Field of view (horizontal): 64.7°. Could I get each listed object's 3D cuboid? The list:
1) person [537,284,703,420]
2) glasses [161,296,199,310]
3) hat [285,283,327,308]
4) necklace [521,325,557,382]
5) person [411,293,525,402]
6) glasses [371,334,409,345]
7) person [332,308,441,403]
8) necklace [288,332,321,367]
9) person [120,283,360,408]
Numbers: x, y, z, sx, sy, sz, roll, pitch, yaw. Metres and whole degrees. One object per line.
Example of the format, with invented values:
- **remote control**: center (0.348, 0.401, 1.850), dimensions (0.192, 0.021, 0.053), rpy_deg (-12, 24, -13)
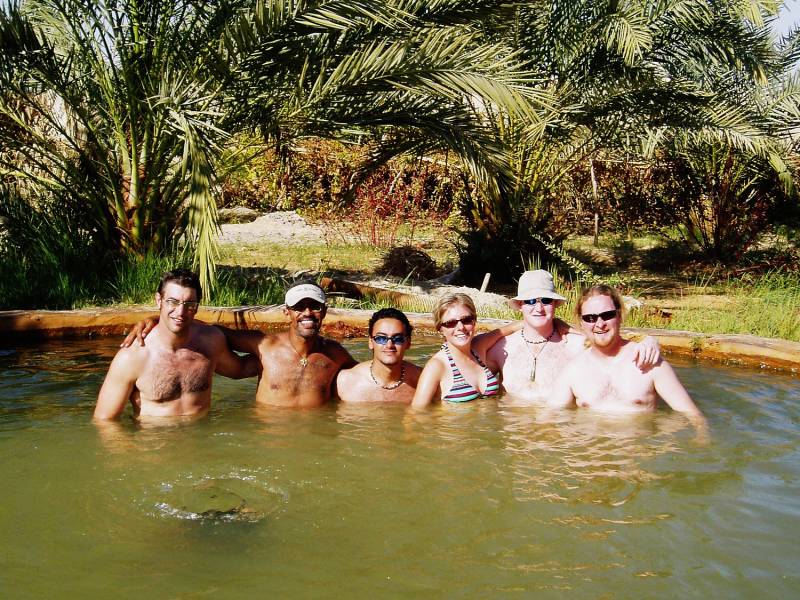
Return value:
- **person**: center (2.005, 0.506, 5.812), dimensions (1.248, 0.956, 0.654), rpy_deg (-12, 3, 20)
- **glasses**: center (-1.640, 0.031, 4.738), dimensions (0.245, 0.101, 0.120), rpy_deg (-3, 10, -19)
- **hat**: center (-0.805, -0.028, 5.365), dimensions (0.472, 0.202, 0.590), rpy_deg (0, -5, -8)
- **necklace**: center (1.194, 0.481, 5.590), dimensions (0.230, 0.474, 0.055), rpy_deg (6, 3, 19)
- **person**: center (0.527, 0.407, 5.467), dimensions (0.879, 0.984, 0.463), rpy_deg (-8, 14, -37)
- **glasses**: center (-0.082, 0.318, 5.180), dimensions (0.302, 0.106, 0.099), rpy_deg (0, 10, -2)
- **person**: center (-0.138, 0.539, 5.605), dimensions (1.062, 0.798, 0.519), rpy_deg (1, -6, -17)
- **necklace**: center (-0.808, 0.419, 5.315), dimensions (0.213, 0.253, 0.092), rpy_deg (2, 21, -14)
- **person**: center (-0.826, 0.480, 5.489), dimensions (3.266, 1.122, 0.739), rpy_deg (-2, -7, 19)
